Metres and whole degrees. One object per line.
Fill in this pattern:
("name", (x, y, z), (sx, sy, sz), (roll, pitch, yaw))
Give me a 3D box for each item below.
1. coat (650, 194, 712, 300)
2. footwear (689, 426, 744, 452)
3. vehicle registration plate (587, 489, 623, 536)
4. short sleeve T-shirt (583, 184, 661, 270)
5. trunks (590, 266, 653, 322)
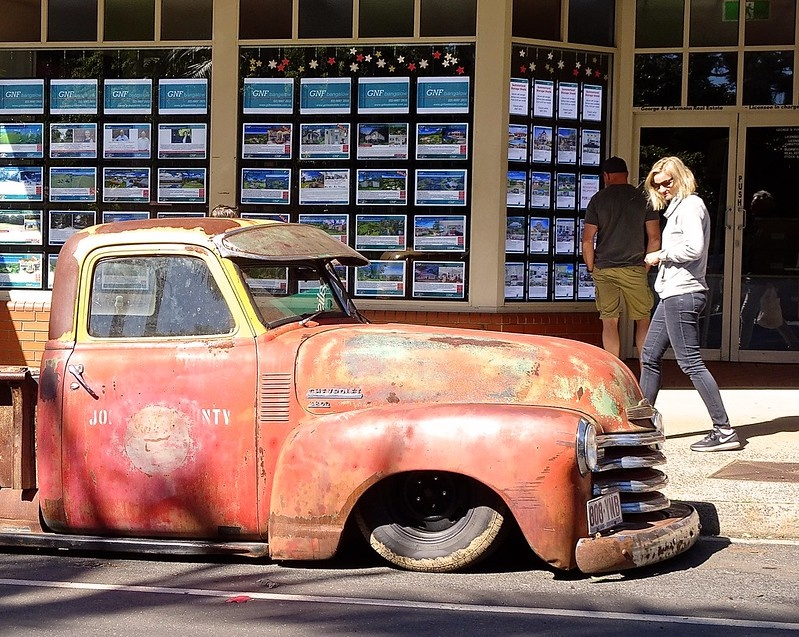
("coat", (2.297, -0.584, 9.187), (0.541, 0.858, 0.738), (0, 0, 17))
("footwear", (2.617, 1.016, 9.174), (0.472, 0.190, 0.176), (0, 0, -1))
("vehicle registration plate", (1.157, 1.118, 6.345), (0.032, 0.205, 0.351), (-4, 3, 42))
("short sleeve T-shirt", (2.109, -0.863, 10.526), (1.009, 0.997, 0.473), (0, 1, 14))
("trunks", (2.175, -0.267, 10.769), (0.592, 0.527, 0.330), (-3, 4, 21))
